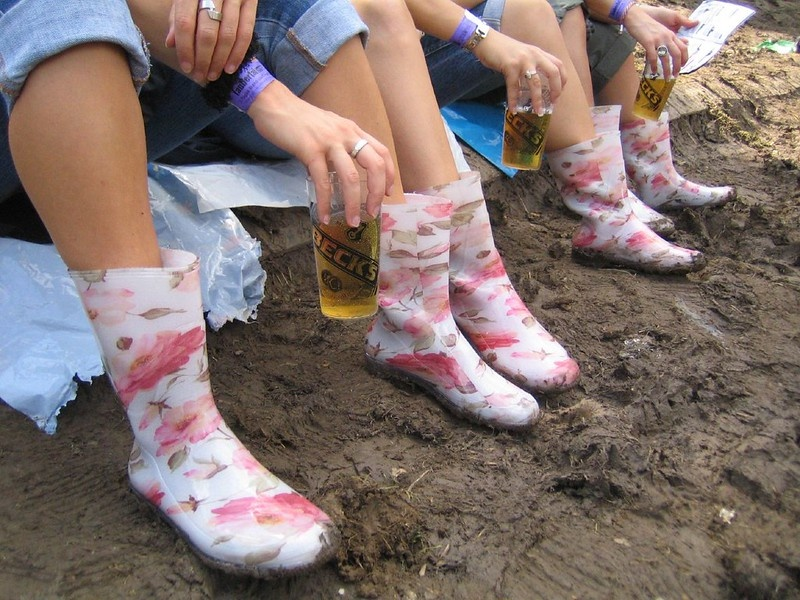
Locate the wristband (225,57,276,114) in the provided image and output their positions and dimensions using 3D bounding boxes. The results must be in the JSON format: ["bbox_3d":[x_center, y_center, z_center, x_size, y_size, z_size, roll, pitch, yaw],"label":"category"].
[{"bbox_3d":[-0.361,-0.521,1.718,0.135,0.106,0.126,-12,47,-24],"label":"wristband"}]

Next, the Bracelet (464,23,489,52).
[{"bbox_3d":[0.236,-0.810,2.170,0.066,0.087,0.027,50,18,19],"label":"Bracelet"}]

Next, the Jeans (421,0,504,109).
[{"bbox_3d":[0.207,-0.881,2.545,0.128,0.293,0.330,-14,17,27],"label":"Jeans"}]

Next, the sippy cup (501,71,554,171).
[{"bbox_3d":[0.399,-0.548,2.211,0.136,0.351,0.102,1,42,2],"label":"sippy cup"}]

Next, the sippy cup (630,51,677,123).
[{"bbox_3d":[0.999,-0.832,2.748,0.125,0.330,0.154,13,43,15],"label":"sippy cup"}]
